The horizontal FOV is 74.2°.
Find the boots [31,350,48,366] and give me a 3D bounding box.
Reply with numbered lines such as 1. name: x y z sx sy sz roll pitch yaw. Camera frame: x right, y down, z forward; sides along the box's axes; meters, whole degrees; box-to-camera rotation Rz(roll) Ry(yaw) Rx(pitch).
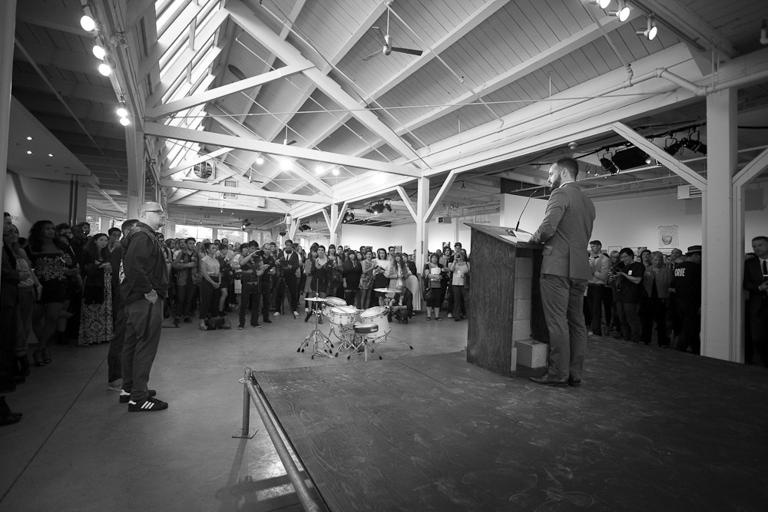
1. boots: -5.085 1.478 7.506 0.165 0.206 0.247 -8 16 -38

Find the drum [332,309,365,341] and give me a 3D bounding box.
1. drum: -0.688 1.135 8.395 0.528 0.597 0.555 0 -3 22

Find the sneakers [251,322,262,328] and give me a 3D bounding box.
1. sneakers: -2.656 1.423 10.548 0.199 0.090 0.081 0 -1 6

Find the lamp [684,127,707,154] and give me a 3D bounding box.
1. lamp: 6.268 -2.349 10.209 0.351 0.463 1.839 9 15 31

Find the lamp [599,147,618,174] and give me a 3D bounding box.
1. lamp: 5.047 -2.185 11.408 0.282 0.675 0.365 -31 23 -20

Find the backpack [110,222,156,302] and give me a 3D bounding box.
1. backpack: -2.988 0.116 6.260 0.543 1.030 0.443 -4 13 -23

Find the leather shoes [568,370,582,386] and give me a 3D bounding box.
1. leather shoes: 2.152 1.376 5.732 0.103 0.125 0.179 1 -27 3

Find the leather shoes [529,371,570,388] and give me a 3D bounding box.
1. leather shoes: 1.865 1.401 5.798 0.451 0.202 0.162 6 -6 15

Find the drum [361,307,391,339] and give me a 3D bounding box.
1. drum: -0.151 1.132 8.325 0.477 0.468 0.476 -10 -5 -45

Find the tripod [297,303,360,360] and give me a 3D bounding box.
1. tripod: -0.936 1.230 8.785 0.947 0.804 0.866 -6 -8 21

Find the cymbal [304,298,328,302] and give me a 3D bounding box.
1. cymbal: -1.220 0.771 9.144 0.249 0.078 0.259 1 -5 -3

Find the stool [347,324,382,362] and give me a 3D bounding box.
1. stool: -0.334 1.387 8.259 0.540 0.545 0.580 -3 -12 29

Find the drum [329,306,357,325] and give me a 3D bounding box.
1. drum: -0.603 0.941 8.226 0.320 0.138 0.328 6 0 0

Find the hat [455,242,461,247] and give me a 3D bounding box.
1. hat: 1.833 -0.303 12.659 0.214 0.122 0.288 2 0 7

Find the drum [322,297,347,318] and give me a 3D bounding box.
1. drum: -0.837 0.797 8.384 0.316 0.254 0.326 8 3 0

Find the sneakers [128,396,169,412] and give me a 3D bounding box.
1. sneakers: -2.923 1.810 6.370 0.507 0.216 0.190 1 -1 -22

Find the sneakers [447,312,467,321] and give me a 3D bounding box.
1. sneakers: 1.808 1.502 12.605 0.219 0.173 0.535 1 -2 -8

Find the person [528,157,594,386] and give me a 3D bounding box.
1. person: 2.051 0.156 5.811 0.666 2.492 0.872 7 13 23
